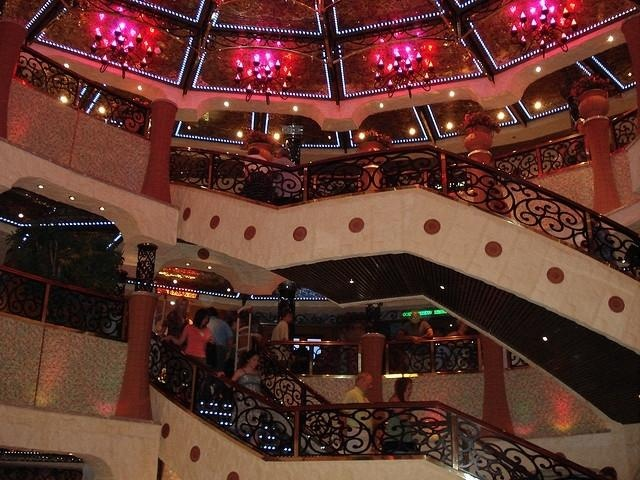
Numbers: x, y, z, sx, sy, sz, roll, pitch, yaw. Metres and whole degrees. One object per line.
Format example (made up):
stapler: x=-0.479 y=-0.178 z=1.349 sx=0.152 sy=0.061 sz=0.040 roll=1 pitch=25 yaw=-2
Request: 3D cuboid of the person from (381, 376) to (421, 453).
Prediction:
person: x=1.131 y=2.526 z=7.137 sx=0.467 sy=1.063 sz=1.316 roll=-2 pitch=-23 yaw=9

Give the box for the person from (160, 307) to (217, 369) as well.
person: x=-2.267 y=1.936 z=8.730 sx=0.649 sy=1.422 sz=0.708 roll=15 pitch=-8 yaw=-32

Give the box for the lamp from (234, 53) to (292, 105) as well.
lamp: x=-1.302 y=-4.022 z=12.043 sx=1.356 sy=1.055 sz=1.401 roll=2 pitch=18 yaw=-21

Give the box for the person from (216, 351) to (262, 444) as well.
person: x=-1.269 y=2.409 z=7.773 sx=0.696 sy=1.432 sz=0.847 roll=6 pitch=-23 yaw=-10

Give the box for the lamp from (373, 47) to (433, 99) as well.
lamp: x=2.070 y=-4.077 z=11.888 sx=1.135 sy=1.022 sz=1.124 roll=-7 pitch=4 yaw=-22

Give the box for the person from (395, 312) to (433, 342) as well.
person: x=2.062 y=1.895 z=10.970 sx=0.743 sy=0.852 sz=0.983 roll=-1 pitch=-23 yaw=5
